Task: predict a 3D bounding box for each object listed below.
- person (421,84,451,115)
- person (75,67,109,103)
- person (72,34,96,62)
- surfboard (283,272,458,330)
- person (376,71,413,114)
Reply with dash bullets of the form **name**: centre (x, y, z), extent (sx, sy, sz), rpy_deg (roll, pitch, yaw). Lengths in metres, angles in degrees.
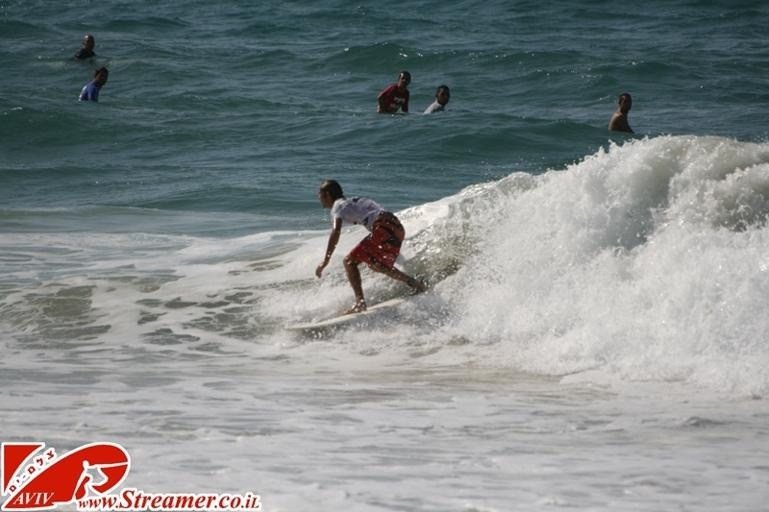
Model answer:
- **person**: centre (1.426, -3.621, 32.762), extent (0.874, 0.638, 0.934), rpy_deg (2, 6, 20)
- **person**: centre (-7.167, -4.286, 34.576), extent (0.635, 1.159, 1.121), rpy_deg (3, 32, -12)
- **person**: centre (-7.997, -5.621, 37.655), extent (0.534, 0.796, 0.719), rpy_deg (2, 32, -12)
- **surfboard**: centre (-0.124, 0.832, 24.723), extent (3.414, 0.228, 0.355), rpy_deg (-11, 45, -3)
- **person**: centre (0.283, -3.779, 32.286), extent (0.734, 1.245, 0.626), rpy_deg (9, 34, -3)
